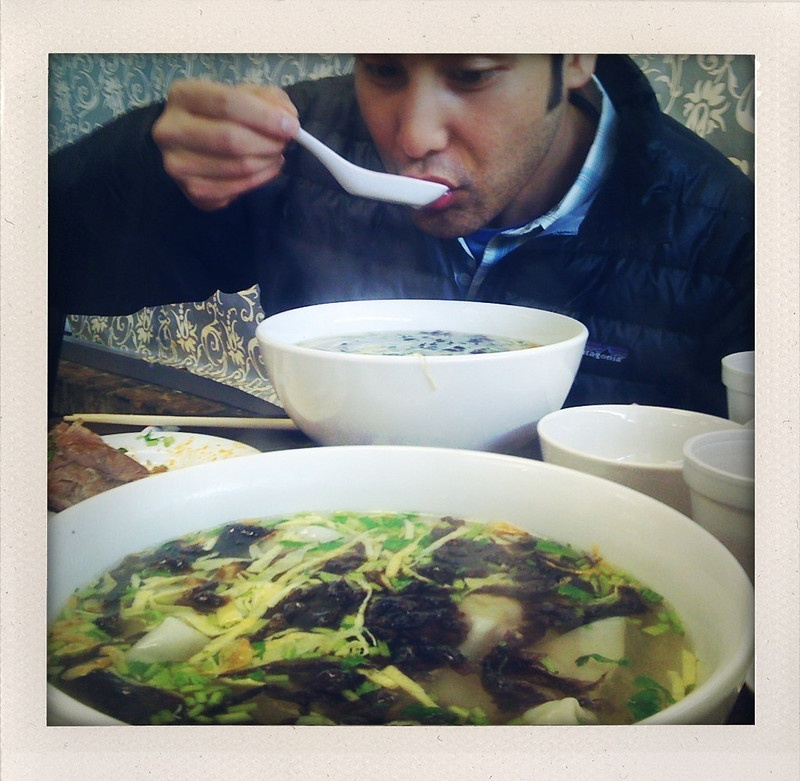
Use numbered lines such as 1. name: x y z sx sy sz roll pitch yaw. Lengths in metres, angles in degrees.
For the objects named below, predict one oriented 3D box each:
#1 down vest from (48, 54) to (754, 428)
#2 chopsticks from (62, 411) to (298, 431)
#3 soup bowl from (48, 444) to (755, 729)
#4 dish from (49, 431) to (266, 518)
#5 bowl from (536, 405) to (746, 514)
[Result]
1. down vest: 0.006 -0.270 1.311 1.033 0.391 0.571 2 15 -16
2. chopsticks: -0.372 0.052 1.303 0.356 0.025 0.035 1 1 -11
3. soup bowl: 0.002 0.282 1.075 0.587 0.133 0.545 1 17 0
4. dish: -0.427 0.103 1.267 0.207 0.041 0.183 -16 29 -29
5. bowl: 0.345 0.042 1.159 0.212 0.109 0.206 -1 19 0
